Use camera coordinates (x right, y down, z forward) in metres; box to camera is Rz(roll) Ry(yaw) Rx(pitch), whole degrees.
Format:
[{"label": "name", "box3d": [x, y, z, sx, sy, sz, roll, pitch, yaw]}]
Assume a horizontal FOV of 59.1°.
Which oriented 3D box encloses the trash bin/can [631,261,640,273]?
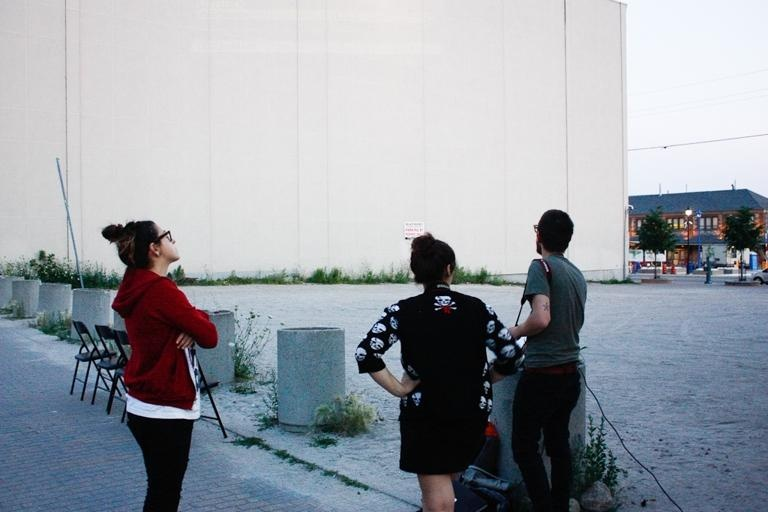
[{"label": "trash bin/can", "box3d": [28.197, 1.183, 76.014, 0.930, 1.031, 0.506, -1, -1, -38]}]
